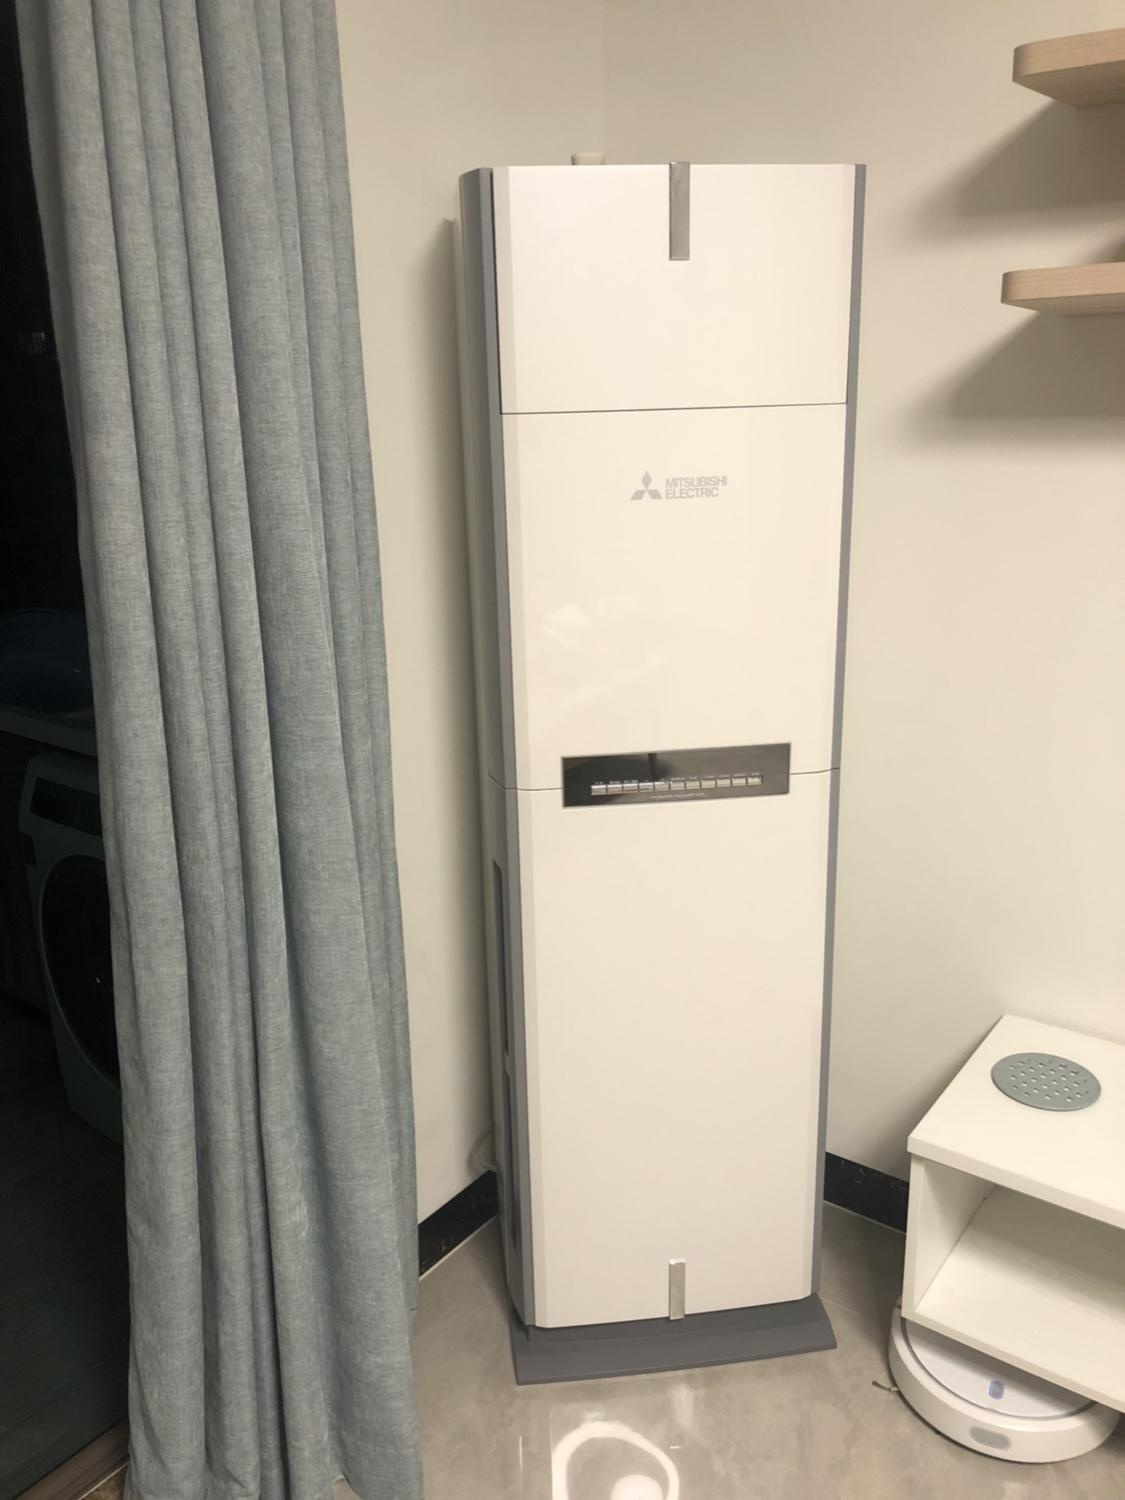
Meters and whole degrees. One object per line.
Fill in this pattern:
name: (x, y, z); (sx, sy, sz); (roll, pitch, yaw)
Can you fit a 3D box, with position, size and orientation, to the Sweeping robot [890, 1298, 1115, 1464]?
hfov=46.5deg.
Sweeping robot: (0.602, 0.860, 1.974); (0.365, 0.153, 0.339); (1, 12, 7)
